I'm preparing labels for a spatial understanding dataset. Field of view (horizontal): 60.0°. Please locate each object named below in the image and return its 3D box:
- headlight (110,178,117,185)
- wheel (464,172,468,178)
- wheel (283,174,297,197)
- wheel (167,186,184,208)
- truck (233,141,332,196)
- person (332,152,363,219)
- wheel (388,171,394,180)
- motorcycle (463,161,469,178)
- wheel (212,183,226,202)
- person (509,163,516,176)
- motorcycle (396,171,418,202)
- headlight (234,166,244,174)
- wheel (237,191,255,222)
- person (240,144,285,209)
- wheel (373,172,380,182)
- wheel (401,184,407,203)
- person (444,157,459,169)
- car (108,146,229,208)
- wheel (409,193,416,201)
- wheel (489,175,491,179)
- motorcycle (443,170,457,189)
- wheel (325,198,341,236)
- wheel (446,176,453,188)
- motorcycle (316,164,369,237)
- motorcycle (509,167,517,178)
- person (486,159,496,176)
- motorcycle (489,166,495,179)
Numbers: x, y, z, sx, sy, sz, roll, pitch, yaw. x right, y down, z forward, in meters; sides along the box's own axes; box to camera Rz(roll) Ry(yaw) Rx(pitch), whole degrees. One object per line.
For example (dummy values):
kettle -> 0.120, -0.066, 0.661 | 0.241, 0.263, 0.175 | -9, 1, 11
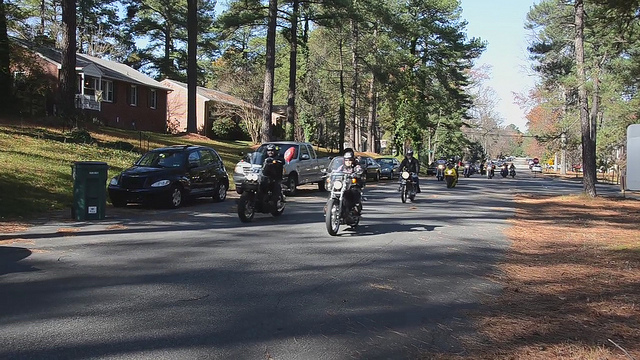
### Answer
headlight -> -8.824, 0.076, 22.906 | 0.575, 0.236, 0.162 | 14, 18, 40
wheel -> 15.339, -0.466, 57.069 | 0.457, 0.434, 0.104 | -2, 10, -11
wheel -> -1.612, 0.253, 27.907 | 0.391, 1.144, 1.184 | 7, 1, 17
wheel -> -6.270, 0.713, 23.123 | 0.308, 0.918, 0.958 | 0, -2, 28
truck -> -1.759, -0.685, 29.836 | 2.725, 1.976, 5.622 | 1, 1, 25
person -> 1.011, 0.139, 19.199 | 0.899, 2.237, 1.454 | 3, 14, 4
wheel -> 6.113, -0.391, 47.269 | 0.270, 0.733, 0.756 | 11, 5, 16
motorcycle -> 15.415, -0.954, 57.077 | 0.503, 1.478, 0.755 | 5, 14, 11
wheel -> -4.885, 0.601, 25.785 | 0.276, 0.829, 0.867 | -6, -6, 31
person -> 23.315, -1.084, 65.478 | 0.654, 1.234, 0.517 | 2, 20, -5
motorcycle -> 4.403, -0.186, 27.825 | 1.076, 1.433, 2.442 | 5, 20, 9
headlight -> -4.305, -0.502, 28.254 | 0.428, 0.218, 0.538 | 2, 6, -4
wheel -> -2.764, 0.994, 20.038 | 0.534, 1.086, 0.439 | 1, 14, -5
person -> -1.910, -0.063, 20.677 | 1.109, 2.371, 0.549 | -11, 19, -42
wheel -> 4.497, -0.235, 43.723 | 0.285, 0.731, 0.760 | 12, 3, 24
wheel -> 4.185, 0.653, 27.137 | 0.216, 0.819, 0.816 | 1, -11, 22
person -> 9.551, -1.186, 39.239 | 0.927, 0.455, 1.184 | 2, 3, 2
car -> -6.760, -0.060, 24.293 | 2.385, 2.560, 4.889 | 10, 15, 29
wheel -> 4.664, 0.850, 27.637 | 0.265, 0.423, 0.388 | 4, 14, 8
wheel -> 17.999, -0.264, 57.314 | 0.150, 0.261, 0.515 | 5, 14, 11
motorcycle -> 8.986, 0.032, 37.363 | 0.682, 1.216, 1.395 | 6, 14, 14
wheel -> 0.427, 1.264, 18.483 | 0.340, 1.161, 1.274 | 4, -3, 20
wheel -> 8.883, 0.173, 37.202 | 0.298, 0.722, 0.550 | 11, 16, 33
motorcycle -> 0.718, 0.781, 18.905 | 0.917, 2.281, 1.957 | 10, 16, 29
motorcycle -> 23.170, -0.751, 65.070 | 0.487, 1.119, 1.478 | 6, 14, 13
person -> 18.562, -1.362, 58.931 | 1.086, 1.486, 0.638 | -6, -16, 29
motorcycle -> 18.214, -0.582, 57.746 | 0.326, 1.020, 1.127 | 11, 16, 31
